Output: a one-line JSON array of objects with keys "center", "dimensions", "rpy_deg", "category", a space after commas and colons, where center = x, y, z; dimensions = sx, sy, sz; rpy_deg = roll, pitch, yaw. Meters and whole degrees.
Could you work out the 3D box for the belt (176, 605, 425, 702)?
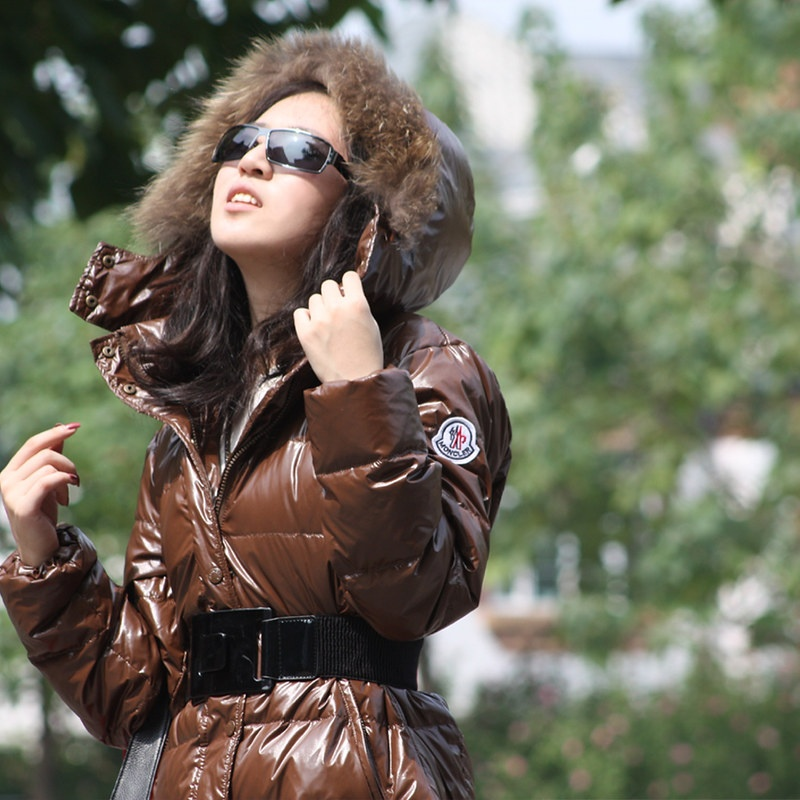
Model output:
[{"center": [-0.158, 0.653, 4.300], "dimensions": [0.515, 0.209, 0.375], "rpy_deg": [-9, -20, 38], "category": "belt"}]
